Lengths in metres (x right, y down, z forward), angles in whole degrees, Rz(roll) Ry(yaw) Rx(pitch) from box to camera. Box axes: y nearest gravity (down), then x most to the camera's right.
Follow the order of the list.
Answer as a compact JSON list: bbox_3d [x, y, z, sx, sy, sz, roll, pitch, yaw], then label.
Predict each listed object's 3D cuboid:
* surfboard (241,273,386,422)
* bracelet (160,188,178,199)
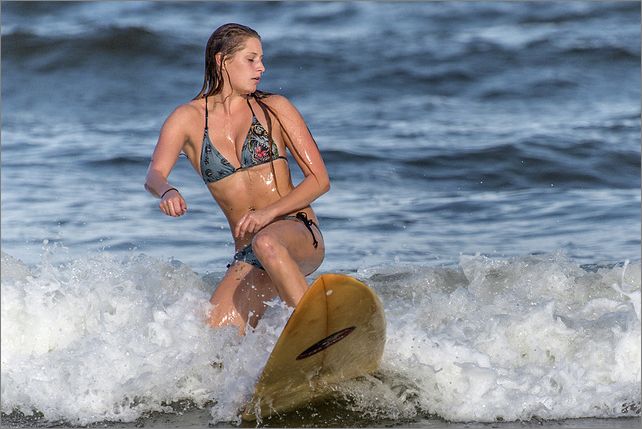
[{"bbox_3d":[-0.013,1.611,12.968,1.272,2.210,0.453,16,38,-35],"label":"surfboard"},{"bbox_3d":[-1.874,-0.260,13.310,0.203,0.138,0.134,-6,13,-9],"label":"bracelet"}]
